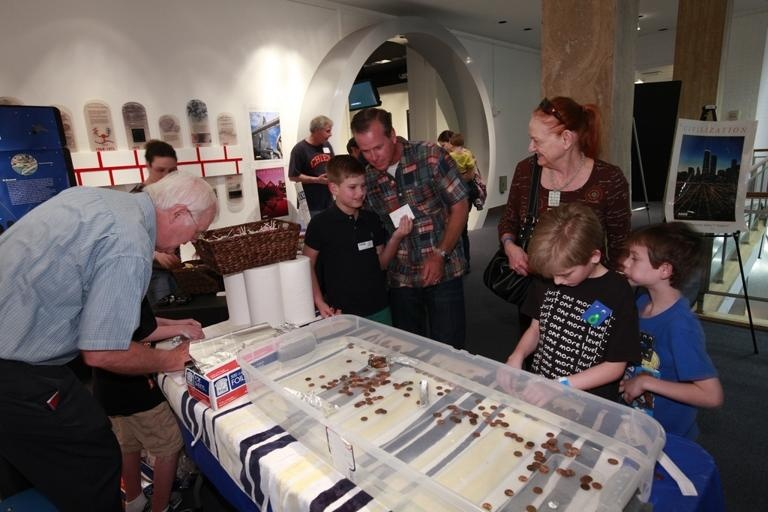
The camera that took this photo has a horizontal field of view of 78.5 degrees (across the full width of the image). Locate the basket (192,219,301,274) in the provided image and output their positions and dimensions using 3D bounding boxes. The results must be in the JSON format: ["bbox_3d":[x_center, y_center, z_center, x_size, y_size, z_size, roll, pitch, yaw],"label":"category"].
[{"bbox_3d":[-0.722,-0.046,2.510,0.456,0.175,0.324,-18,21,-28],"label":"basket"}]

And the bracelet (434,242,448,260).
[{"bbox_3d":[0.348,-0.023,2.923,0.029,0.078,0.073,-42,34,6],"label":"bracelet"}]

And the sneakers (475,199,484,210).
[{"bbox_3d":[0.844,-0.462,4.160,0.088,0.076,0.255,20,8,10],"label":"sneakers"}]

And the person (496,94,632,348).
[{"bbox_3d":[1.024,0.109,2.791,0.746,1.928,0.686,4,19,22],"label":"person"}]

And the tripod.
[{"bbox_3d":[2.850,-0.309,4.220,0.904,1.938,0.625,3,16,1],"label":"tripod"}]

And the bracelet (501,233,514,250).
[{"bbox_3d":[0.720,-0.084,2.733,0.076,0.069,0.068,3,24,17],"label":"bracelet"}]

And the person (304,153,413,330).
[{"bbox_3d":[-0.169,-0.084,2.883,0.635,1.041,0.267,-6,14,-10],"label":"person"}]

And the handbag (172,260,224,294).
[{"bbox_3d":[-1.270,0.166,3.218,0.384,0.178,0.258,7,16,29],"label":"handbag"}]

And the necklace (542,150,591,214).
[{"bbox_3d":[0.983,-0.428,2.565,0.251,0.314,0.127,13,32,17],"label":"necklace"}]

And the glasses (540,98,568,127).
[{"bbox_3d":[0.889,-0.772,2.468,0.039,0.144,0.140,-44,56,-5],"label":"glasses"}]

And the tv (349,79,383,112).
[{"bbox_3d":[-0.251,-2.229,6.492,0.564,0.361,0.252,5,16,31],"label":"tv"}]
